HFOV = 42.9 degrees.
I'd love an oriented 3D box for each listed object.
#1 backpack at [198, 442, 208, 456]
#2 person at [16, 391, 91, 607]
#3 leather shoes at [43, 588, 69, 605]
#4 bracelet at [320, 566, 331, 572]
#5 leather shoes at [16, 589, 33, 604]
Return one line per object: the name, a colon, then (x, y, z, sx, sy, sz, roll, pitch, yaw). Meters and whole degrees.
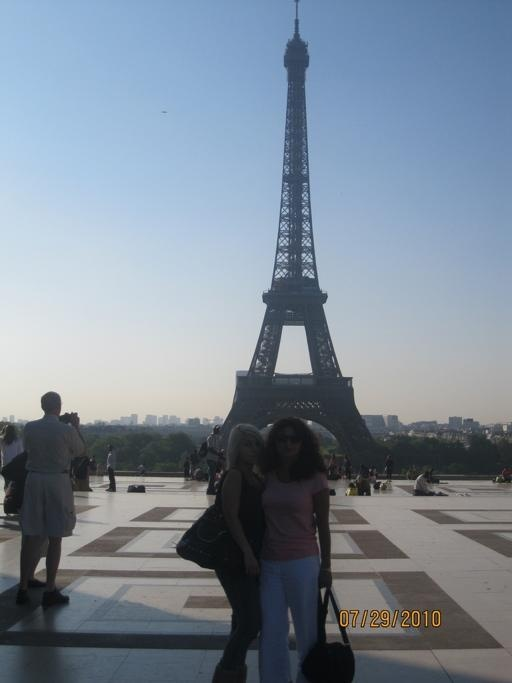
backpack: (-1.170, 2.269, 13.959, 0.084, 0.282, 0.209, 13, 3, 20)
person: (-1.901, 1.430, 6.099, 0.572, 1.902, 0.362, 1, -7, -7)
leather shoes: (-1.798, 2.306, 5.920, 0.259, 0.122, 0.199, 4, -8, -31)
bracelet: (0.406, 1.303, 3.747, 0.040, 0.016, 0.054, 0, -3, 21)
leather shoes: (-2.121, 2.329, 6.007, 0.068, 0.084, 0.198, 2, -1, 3)
